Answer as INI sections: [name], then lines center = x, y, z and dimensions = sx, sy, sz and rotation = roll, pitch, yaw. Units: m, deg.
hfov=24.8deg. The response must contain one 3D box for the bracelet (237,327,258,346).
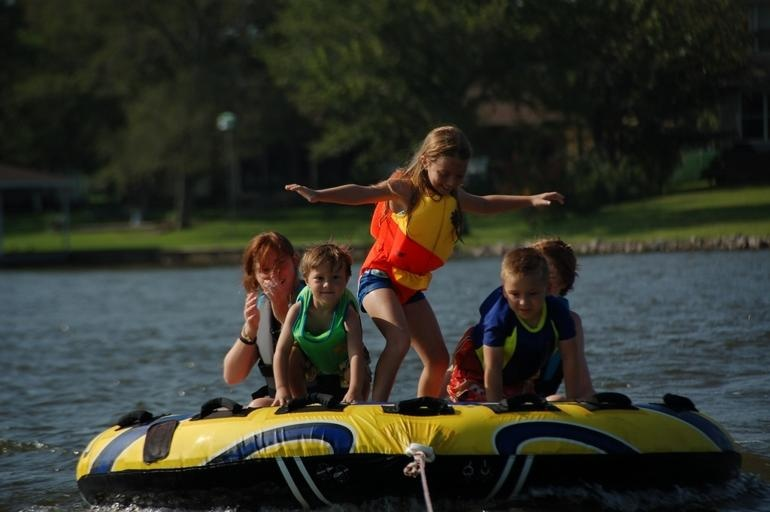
[bracelet]
center = -2.153, 1.356, 27.578
dimensions = 0.281, 0.253, 0.113
rotation = 0, 2, 1

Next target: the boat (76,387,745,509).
[boat]
center = 0.186, 3.196, 27.423
dimensions = 6.501, 1.260, 3.905
rotation = -2, -6, -2
